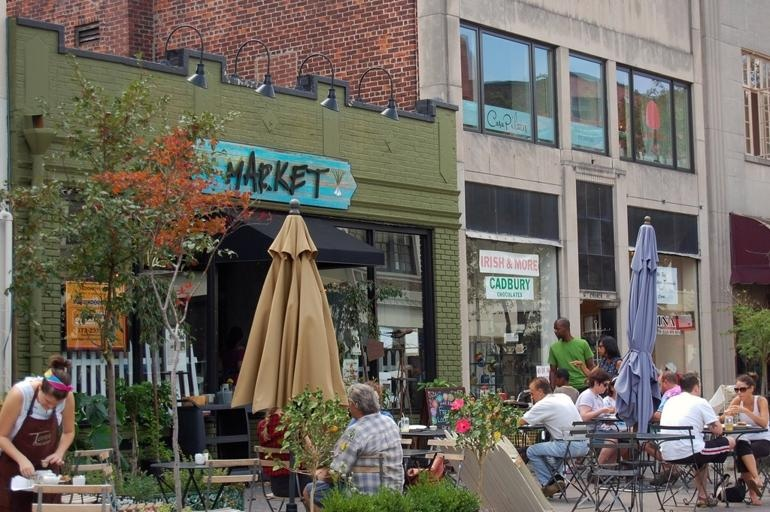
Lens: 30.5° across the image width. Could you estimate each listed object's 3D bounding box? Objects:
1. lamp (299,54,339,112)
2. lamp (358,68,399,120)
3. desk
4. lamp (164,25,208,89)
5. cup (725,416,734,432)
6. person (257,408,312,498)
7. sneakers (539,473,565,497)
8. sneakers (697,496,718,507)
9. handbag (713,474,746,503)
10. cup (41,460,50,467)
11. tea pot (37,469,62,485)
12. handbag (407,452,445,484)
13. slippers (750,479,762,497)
[{"bbox_3d":[-1.336,-3.419,28.375,0.780,0.447,1.390,-5,-41,-6],"label":"lamp"},{"bbox_3d":[-0.136,-3.268,29.819,0.840,1.445,0.446,-5,-26,0],"label":"lamp"},{"bbox_3d":[-3.040,3.161,25.060,0.427,1.023,1.265,-8,-11,36],"label":"desk"},{"bbox_3d":[-3.779,-3.698,26.768,0.767,0.446,1.328,1,-46,-11],"label":"lamp"},{"bbox_3d":[6.268,3.017,25.826,0.156,0.194,0.110,5,-10,-27],"label":"cup"},{"bbox_3d":[-1.766,3.078,22.500,1.008,1.434,1.219,1,-1,2],"label":"person"},{"bbox_3d":[3.014,4.047,25.275,0.214,0.275,0.611,-33,-2,-19],"label":"sneakers"},{"bbox_3d":[5.579,4.190,24.554,0.173,0.177,0.413,0,-1,39],"label":"sneakers"},{"bbox_3d":[6.123,4.087,25.206,0.557,0.623,0.375,4,-11,2],"label":"handbag"},{"bbox_3d":[-4.941,2.967,20.633,0.082,0.104,0.098,-1,-4,-7],"label":"cup"},{"bbox_3d":[-4.820,3.114,20.287,0.193,0.142,0.274,3,-1,-10],"label":"tea pot"},{"bbox_3d":[0.721,3.527,23.936,0.662,0.713,0.500,-2,-7,24],"label":"handbag"},{"bbox_3d":[6.484,4.000,24.823,0.131,0.338,0.113,0,-16,-27],"label":"slippers"}]
